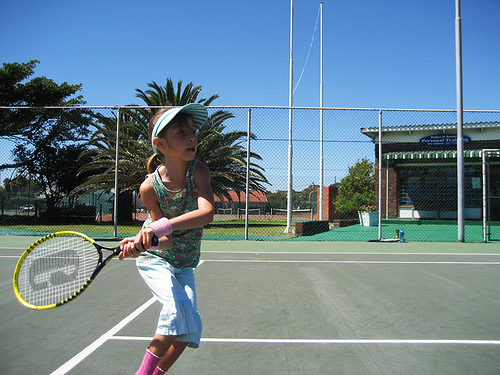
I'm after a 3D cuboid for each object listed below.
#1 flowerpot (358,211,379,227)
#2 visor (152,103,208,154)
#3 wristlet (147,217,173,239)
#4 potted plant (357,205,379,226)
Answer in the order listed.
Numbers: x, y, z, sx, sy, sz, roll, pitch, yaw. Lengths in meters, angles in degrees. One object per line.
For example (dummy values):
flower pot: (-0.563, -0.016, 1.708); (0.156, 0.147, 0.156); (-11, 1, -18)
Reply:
flowerpot: (6.595, 1.688, 22.973); (1.066, 0.769, 1.330); (-2, -3, 5)
visor: (-0.535, -0.489, 3.205); (0.419, 0.412, 0.358); (-1, -3, -13)
wristlet: (-0.611, 0.275, 2.872); (0.128, 0.138, 0.054); (-26, -14, -23)
potted plant: (7.354, 1.714, 26.109); (1.103, 1.059, 1.376); (-2, -3, 23)
